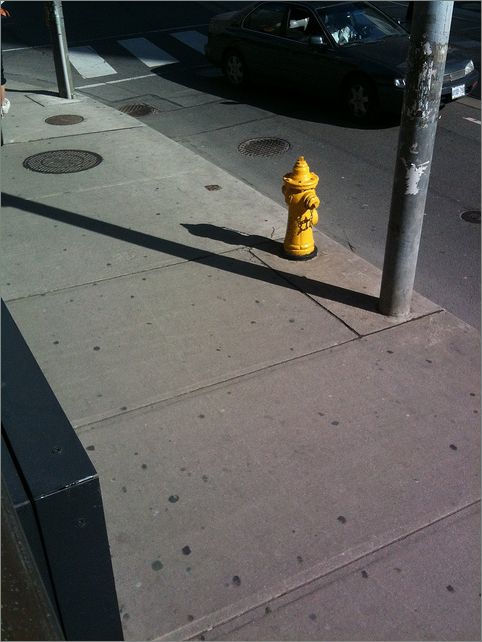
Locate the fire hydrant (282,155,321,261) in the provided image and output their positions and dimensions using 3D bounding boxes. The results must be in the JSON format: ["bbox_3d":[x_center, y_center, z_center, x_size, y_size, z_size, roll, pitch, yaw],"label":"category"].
[{"bbox_3d":[0.541,-1.002,5.239,0.354,0.923,0.346,3,26,4],"label":"fire hydrant"}]
